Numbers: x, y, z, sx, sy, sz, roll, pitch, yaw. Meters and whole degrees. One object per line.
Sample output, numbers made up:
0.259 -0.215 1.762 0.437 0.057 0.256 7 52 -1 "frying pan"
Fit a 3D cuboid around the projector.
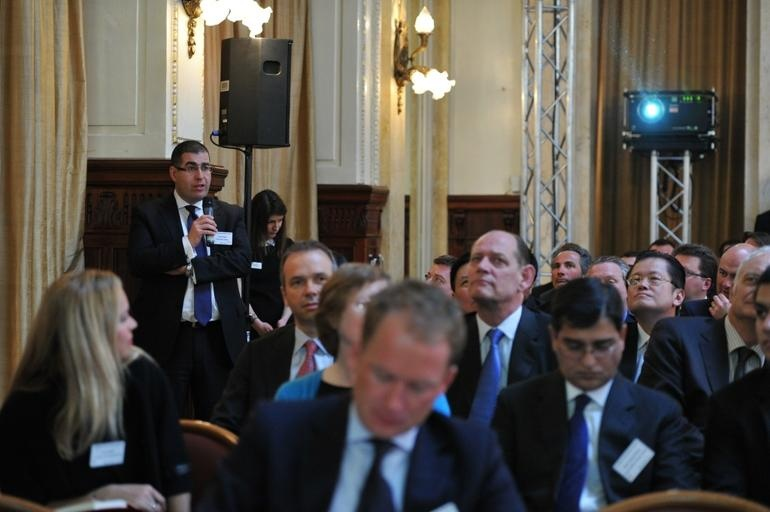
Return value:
3.444 -1.652 9.811 0.956 0.754 0.771 0 3 9 "projector"
